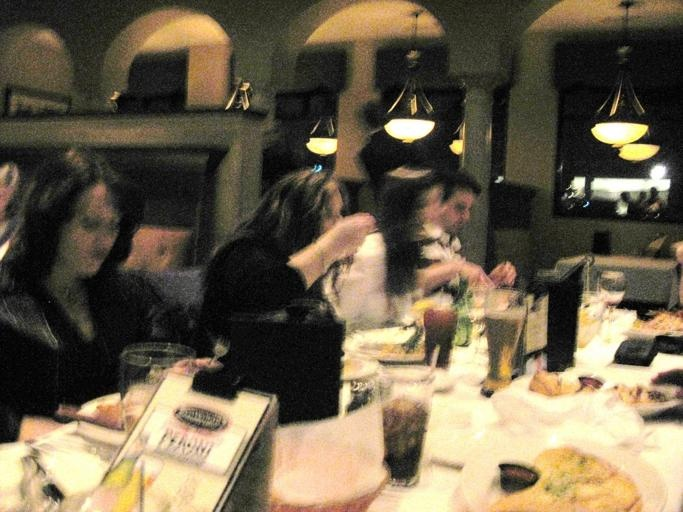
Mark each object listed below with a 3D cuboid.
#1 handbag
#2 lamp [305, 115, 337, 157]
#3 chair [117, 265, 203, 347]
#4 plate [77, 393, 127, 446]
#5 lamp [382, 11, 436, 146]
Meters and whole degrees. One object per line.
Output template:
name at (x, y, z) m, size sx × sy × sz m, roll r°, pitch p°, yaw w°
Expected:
handbag at (-0.093, 0.196, 1.208) m, size 0.224 × 0.194 × 0.214 m, roll 2°, pitch 1°, yaw 43°
lamp at (-0.041, -0.262, 1.335) m, size 0.088 × 0.078 × 0.081 m, roll 1°, pitch 2°, yaw -5°
chair at (-0.400, 0.133, 1.511) m, size 0.204 × 0.194 × 0.198 m, roll 7°, pitch -14°, yaw -43°
plate at (-0.547, 0.400, 1.475) m, size 0.136 × 0.122 × 0.035 m, roll -11°, pitch -41°, yaw 30°
lamp at (0.154, -0.399, 1.311) m, size 0.130 × 0.268 × 0.117 m, roll 5°, pitch 17°, yaw 12°
